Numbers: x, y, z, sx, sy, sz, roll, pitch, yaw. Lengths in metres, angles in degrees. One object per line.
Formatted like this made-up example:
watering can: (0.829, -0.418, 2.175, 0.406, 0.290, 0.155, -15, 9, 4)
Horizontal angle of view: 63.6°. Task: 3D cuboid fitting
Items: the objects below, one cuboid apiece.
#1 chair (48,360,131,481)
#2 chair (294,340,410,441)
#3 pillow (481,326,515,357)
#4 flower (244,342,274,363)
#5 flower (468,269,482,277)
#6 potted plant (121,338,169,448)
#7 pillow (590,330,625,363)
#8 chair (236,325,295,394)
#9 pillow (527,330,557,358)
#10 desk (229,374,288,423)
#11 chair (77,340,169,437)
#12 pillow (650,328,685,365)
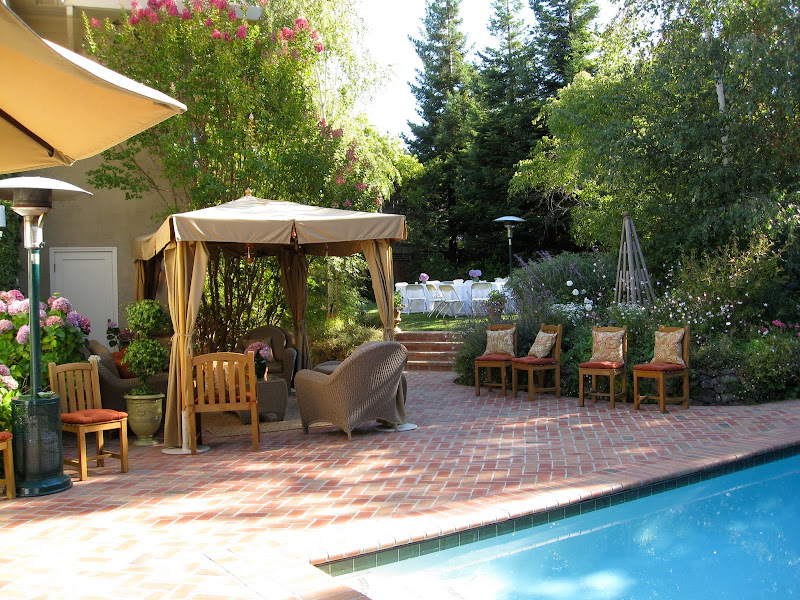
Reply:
chair: (-3.586, 1.326, 7.406, 0.735, 1.322, 1.231, -3, 7, -30)
chair: (-0.602, 1.174, 8.836, 1.254, 1.383, 1.310, -5, 5, -43)
pillow: (1.788, 0.750, 11.545, 0.450, 0.484, 0.185, -2, -24, 21)
flower: (-2.286, 0.801, 10.480, 0.461, 0.467, 0.517, -1, -9, 7)
flower: (2.479, -0.883, 21.266, 0.482, 0.262, 0.522, 0, 4, 16)
potted plant: (-3.382, 1.174, 8.499, 0.576, 1.327, 0.582, 1, -6, -31)
pillow: (3.301, 0.737, 10.179, 0.405, 0.461, 0.188, -4, -20, 27)
chair: (-2.532, 1.014, 11.562, 1.105, 1.484, 1.193, 0, -5, -6)
pillow: (2.421, 0.771, 10.968, 0.125, 0.425, 0.404, 23, -2, -21)
desk: (-2.002, 1.401, 9.564, 0.567, 0.641, 0.932, -4, 6, -17)
chair: (-3.899, 1.131, 9.255, 1.099, 1.297, 0.980, 0, 15, -19)
pillow: (4.056, 0.713, 9.710, 0.151, 0.441, 0.395, 28, -31, -32)
